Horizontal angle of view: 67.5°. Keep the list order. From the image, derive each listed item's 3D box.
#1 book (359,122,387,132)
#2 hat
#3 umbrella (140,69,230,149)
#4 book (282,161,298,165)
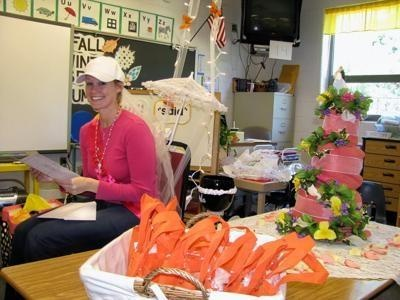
[{"bbox_3d":[2.540,-0.344,4.367,0.298,0.199,0.153,2,11,27],"label":"book"},{"bbox_3d":[-0.492,-0.405,1.553,0.148,0.106,0.203,2,1,20],"label":"hat"},{"bbox_3d":[-0.067,-0.276,1.773,0.430,0.371,0.434,33,8,31],"label":"umbrella"},{"bbox_3d":[0.833,0.119,2.802,0.066,0.021,0.065,-5,9,-27],"label":"book"}]
